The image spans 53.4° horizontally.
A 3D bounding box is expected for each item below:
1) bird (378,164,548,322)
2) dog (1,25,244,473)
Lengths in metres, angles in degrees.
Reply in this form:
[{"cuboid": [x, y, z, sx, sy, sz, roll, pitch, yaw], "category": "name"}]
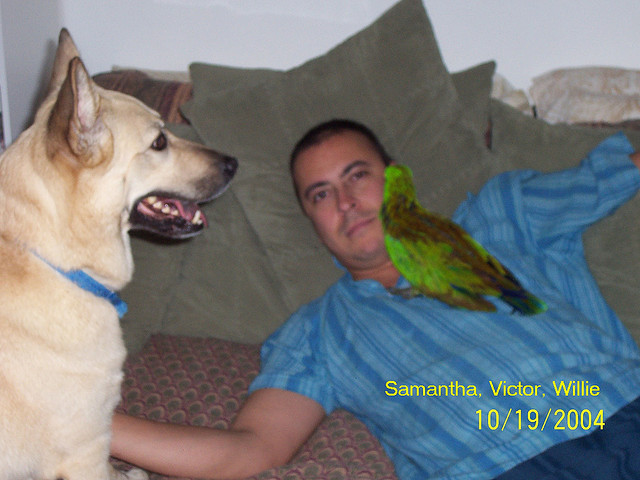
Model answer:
[{"cuboid": [0.532, 0.045, 2.585, 0.757, 0.653, 0.282, 8, 20, 40], "category": "bird"}, {"cuboid": [-0.833, 0.039, 2.274, 0.398, 1.531, 0.890, 5, 16, 28], "category": "dog"}]
